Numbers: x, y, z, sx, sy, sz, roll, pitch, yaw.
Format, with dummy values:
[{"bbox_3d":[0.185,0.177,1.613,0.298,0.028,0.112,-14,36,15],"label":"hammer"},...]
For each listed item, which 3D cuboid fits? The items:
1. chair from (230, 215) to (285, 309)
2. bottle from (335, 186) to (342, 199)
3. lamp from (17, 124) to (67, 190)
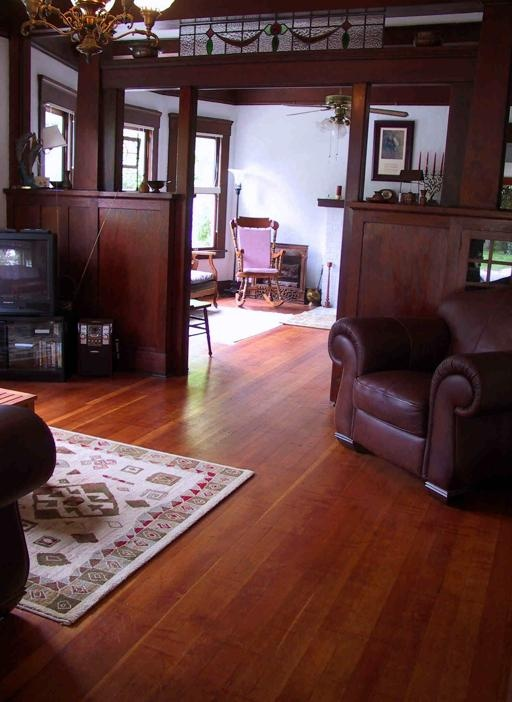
[{"bbox_3d":[0.029,-1.313,7.869,0.884,1.333,1.016,3,10,11],"label":"chair"},{"bbox_3d":[1.251,-2.394,7.958,0.097,0.234,0.213,5,8,7],"label":"bottle"},{"bbox_3d":[-1.825,-1.606,4.410,0.339,0.484,0.608,-1,9,-29],"label":"lamp"}]
